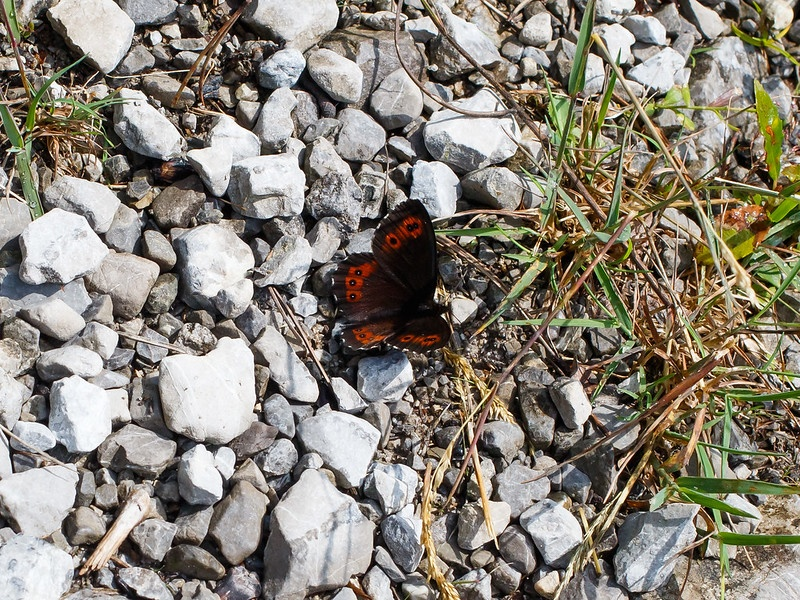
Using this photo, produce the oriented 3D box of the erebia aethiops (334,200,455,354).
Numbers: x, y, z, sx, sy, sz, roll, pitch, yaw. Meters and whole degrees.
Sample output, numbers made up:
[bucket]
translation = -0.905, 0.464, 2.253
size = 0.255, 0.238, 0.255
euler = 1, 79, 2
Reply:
[erebia aethiops]
translation = -0.054, -0.069, 3.447
size = 0.472, 0.228, 0.647
euler = -14, 85, -3
